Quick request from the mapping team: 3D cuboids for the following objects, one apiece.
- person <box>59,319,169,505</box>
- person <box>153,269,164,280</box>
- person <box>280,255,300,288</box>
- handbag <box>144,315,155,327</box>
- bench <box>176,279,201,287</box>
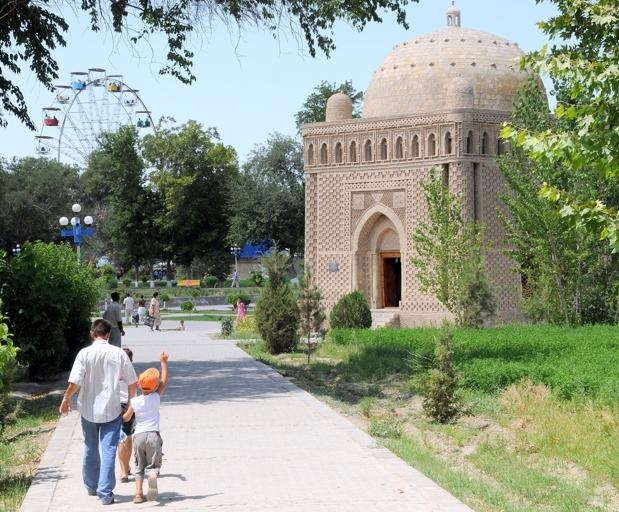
[{"bbox_3d":[-2.415,1.720,9.610,0.677,2.147,0.728,4,-1,6],"label":"person"},{"bbox_3d":[-16.161,1.926,89.670,1.070,1.146,0.239,-41,-25,28],"label":"person"},{"bbox_3d":[-0.752,0.583,33.033,0.704,1.443,0.313,-7,18,17],"label":"person"},{"bbox_3d":[-6.333,2.566,33.184,0.386,0.627,0.448,0,-9,2],"label":"handbag"},{"bbox_3d":[-8.364,1.860,58.289,1.510,0.548,6.454,7,-2,-8],"label":"bench"}]
